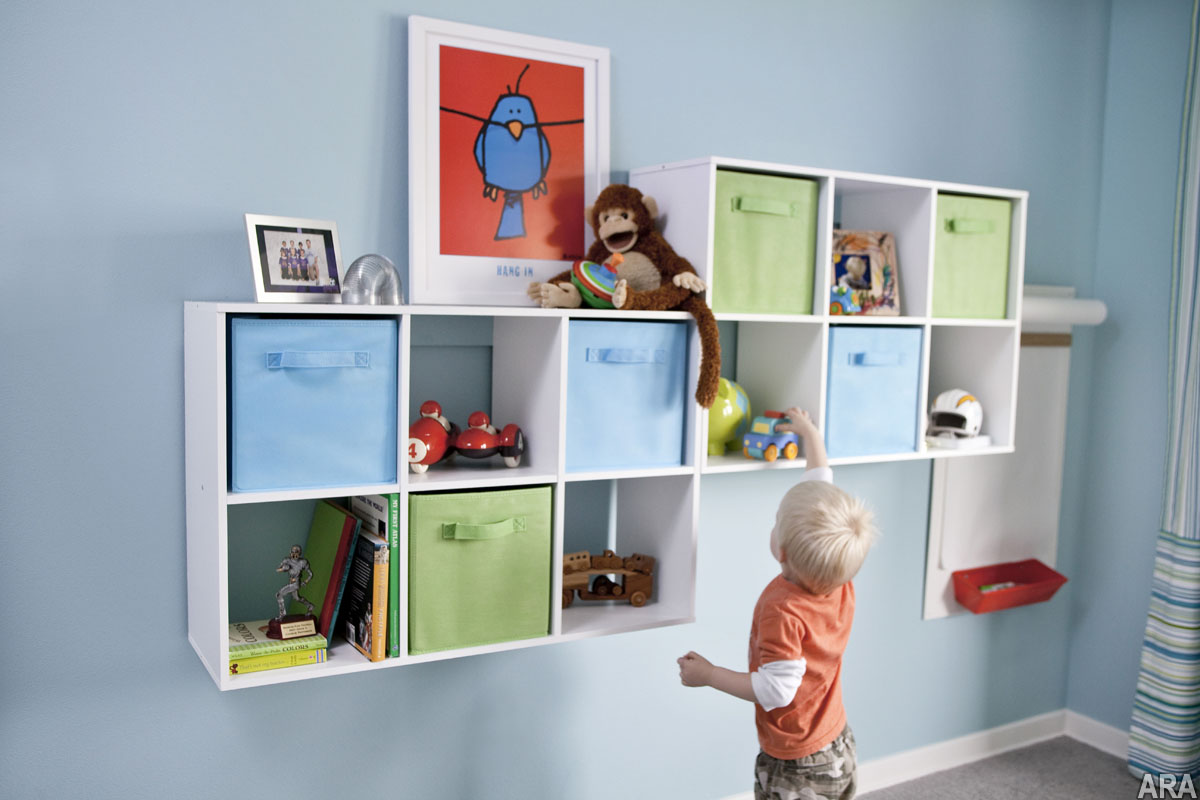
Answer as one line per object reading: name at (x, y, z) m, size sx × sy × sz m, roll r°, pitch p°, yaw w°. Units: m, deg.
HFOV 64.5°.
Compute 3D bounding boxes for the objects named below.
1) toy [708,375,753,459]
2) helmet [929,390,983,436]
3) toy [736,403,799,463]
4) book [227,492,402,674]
toy at (0.372, 0.053, 2.884) m, size 0.160 × 0.178 × 0.205 m, roll 0°, pitch 4°, yaw 0°
helmet at (1.151, 0.042, 3.065) m, size 0.165 × 0.135 × 0.130 m, roll 2°, pitch 2°, yaw -30°
toy at (0.477, 0.113, 2.760) m, size 0.173 × 0.129 × 0.121 m, roll 1°, pitch 0°, yaw -42°
book at (-0.718, 0.464, 2.394) m, size 0.484 × 0.440 × 0.249 m, roll 2°, pitch -5°, yaw -24°
